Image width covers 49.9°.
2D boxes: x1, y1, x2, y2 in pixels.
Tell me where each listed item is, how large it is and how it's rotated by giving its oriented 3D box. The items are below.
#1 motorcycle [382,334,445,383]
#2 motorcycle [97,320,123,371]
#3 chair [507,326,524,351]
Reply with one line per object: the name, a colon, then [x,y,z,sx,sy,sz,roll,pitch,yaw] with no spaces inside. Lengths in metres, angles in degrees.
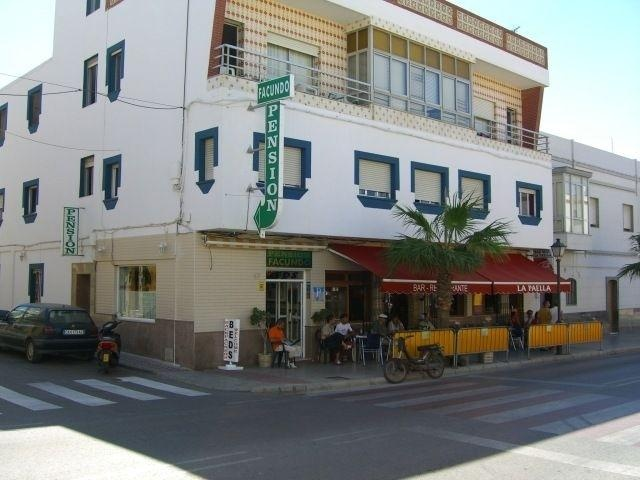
motorcycle: [2.908,3.755,21.672,2.360,1.360,0.854,0,2,-38]
motorcycle: [-6.651,3.414,21.746,0.642,1.523,1.274,0,1,-19]
chair: [8.271,4.186,28.980,0.566,0.981,1.304,1,1,17]
